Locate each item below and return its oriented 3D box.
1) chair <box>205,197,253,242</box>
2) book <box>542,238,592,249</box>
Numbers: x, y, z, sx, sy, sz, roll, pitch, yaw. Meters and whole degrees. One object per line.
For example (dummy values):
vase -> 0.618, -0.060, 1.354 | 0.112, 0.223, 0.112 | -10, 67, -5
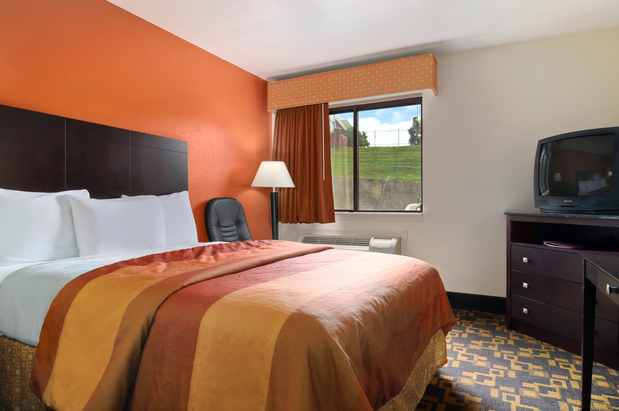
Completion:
chair -> -1.114, 0.184, 5.132 | 0.467, 0.659, 0.554 | -3, -2, -41
book -> 2.477, 0.398, 3.937 | 0.329, 0.057, 0.388 | 0, 5, 13
